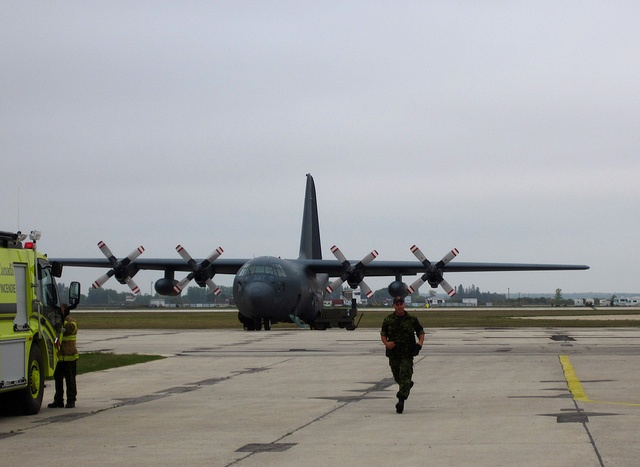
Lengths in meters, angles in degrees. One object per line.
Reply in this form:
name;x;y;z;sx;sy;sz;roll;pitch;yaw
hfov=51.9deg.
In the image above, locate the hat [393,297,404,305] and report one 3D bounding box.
hat;1.552;1.336;12.982;0.217;0.108;0.326;-2;-8;1
